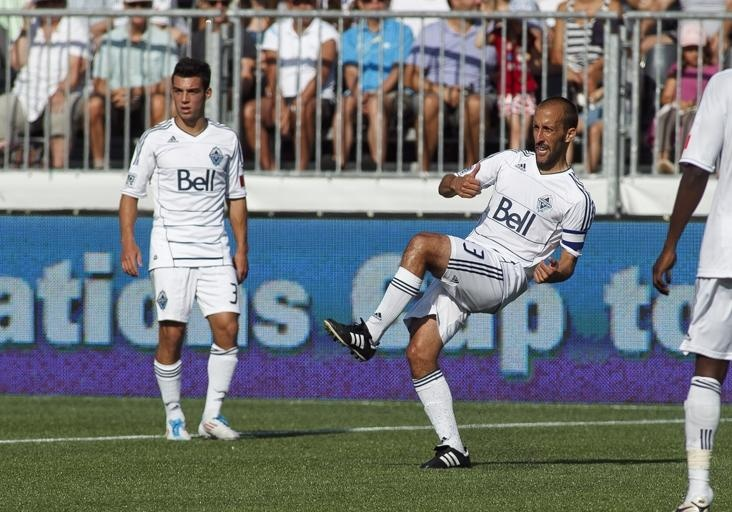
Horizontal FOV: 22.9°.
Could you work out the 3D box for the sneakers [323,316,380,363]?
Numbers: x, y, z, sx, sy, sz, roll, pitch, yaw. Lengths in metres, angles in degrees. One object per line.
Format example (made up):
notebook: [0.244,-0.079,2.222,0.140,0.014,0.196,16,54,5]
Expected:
sneakers: [-0.113,0.594,12.622,0.362,0.310,0.187,0,11,-4]

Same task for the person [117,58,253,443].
person: [-1.370,-0.065,13.674,0.929,2.897,0.747,-1,11,-6]

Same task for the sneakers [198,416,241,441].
sneakers: [-1.125,1.352,13.667,0.360,0.197,0.137,2,-3,15]

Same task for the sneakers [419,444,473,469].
sneakers: [0.576,1.449,12.632,0.287,0.141,0.167,2,-9,-4]
